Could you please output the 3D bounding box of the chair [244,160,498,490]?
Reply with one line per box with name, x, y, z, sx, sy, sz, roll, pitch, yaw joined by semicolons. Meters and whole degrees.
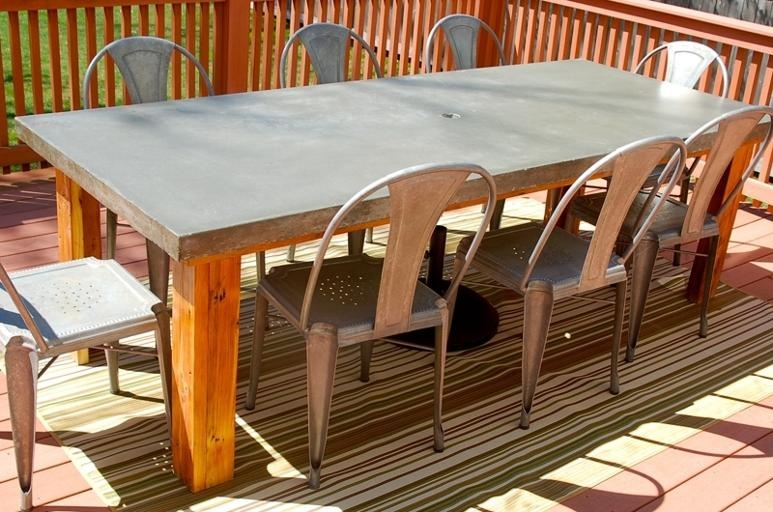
chair;-0.068;0.176;2.608;0.856;1.204;0.616;-13;26;-30
